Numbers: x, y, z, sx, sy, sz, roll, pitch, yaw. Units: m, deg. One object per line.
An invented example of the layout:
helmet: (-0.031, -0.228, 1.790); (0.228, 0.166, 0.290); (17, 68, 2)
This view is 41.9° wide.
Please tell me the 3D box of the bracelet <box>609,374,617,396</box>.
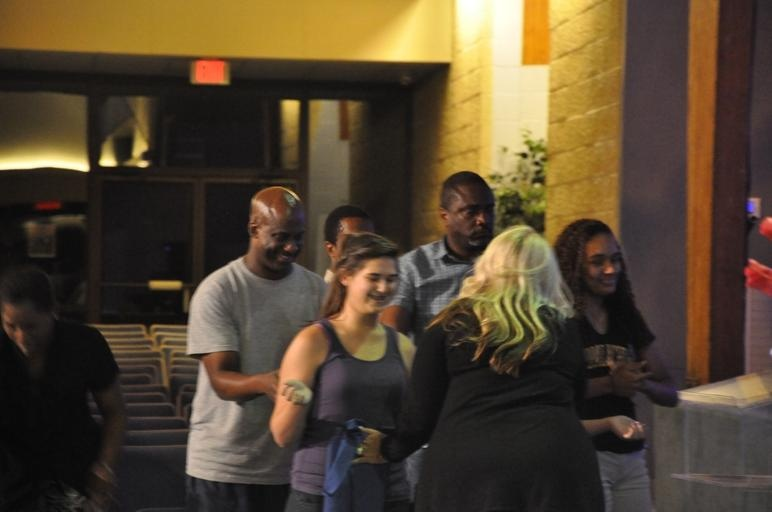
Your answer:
bracelet: (1.255, 0.703, 5.565); (0.030, 0.071, 0.054); (-7, -5, 0)
